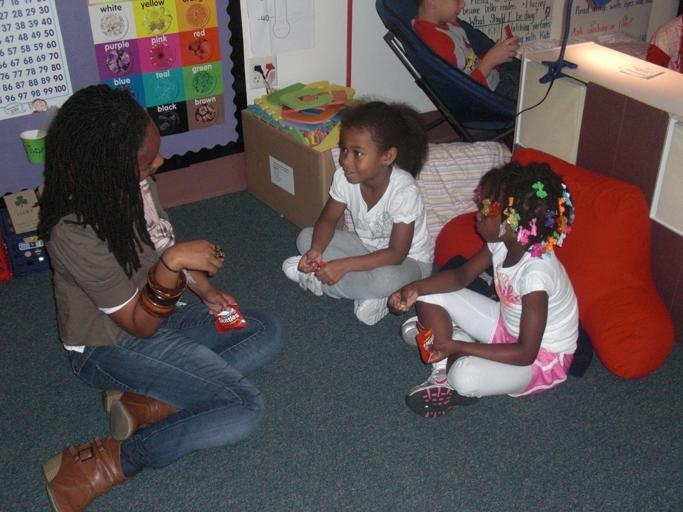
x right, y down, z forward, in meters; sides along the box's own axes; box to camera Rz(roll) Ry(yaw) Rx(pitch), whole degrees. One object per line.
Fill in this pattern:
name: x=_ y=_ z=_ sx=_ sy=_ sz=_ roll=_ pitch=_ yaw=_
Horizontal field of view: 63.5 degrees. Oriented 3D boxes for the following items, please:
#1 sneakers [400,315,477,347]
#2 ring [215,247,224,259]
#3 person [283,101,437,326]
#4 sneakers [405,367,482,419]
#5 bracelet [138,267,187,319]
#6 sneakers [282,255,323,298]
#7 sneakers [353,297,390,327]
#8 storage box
sneakers: x=0.404 y=0.297 z=2.224 sx=0.195 sy=0.077 sz=0.067 roll=21 pitch=56 yaw=26
ring: x=-0.405 y=-0.011 z=1.827 sx=0.020 sy=0.024 sz=0.060 roll=-16 pitch=40 yaw=-21
person: x=0.105 y=-0.223 z=2.442 sx=0.670 sy=0.810 sz=0.622 roll=-14 pitch=28 yaw=-20
sneakers: x=0.358 y=0.545 z=2.124 sx=0.297 sy=0.135 sz=0.205 roll=4 pitch=29 yaw=-6
bracelet: x=-0.556 y=0.129 z=1.776 sx=0.153 sy=0.161 sz=0.153 roll=10 pitch=45 yaw=-22
sneakers: x=-0.194 y=0.097 z=2.686 sx=0.234 sy=0.144 sz=0.092 roll=37 pitch=85 yaw=-4
sneakers: x=0.138 y=0.255 z=2.517 sx=0.137 sy=0.132 sz=0.049 roll=-5 pitch=15 yaw=-7
storage box: x=-0.269 y=-0.488 z=3.006 sx=0.606 sy=0.401 sz=0.333 roll=40 pitch=60 yaw=18
